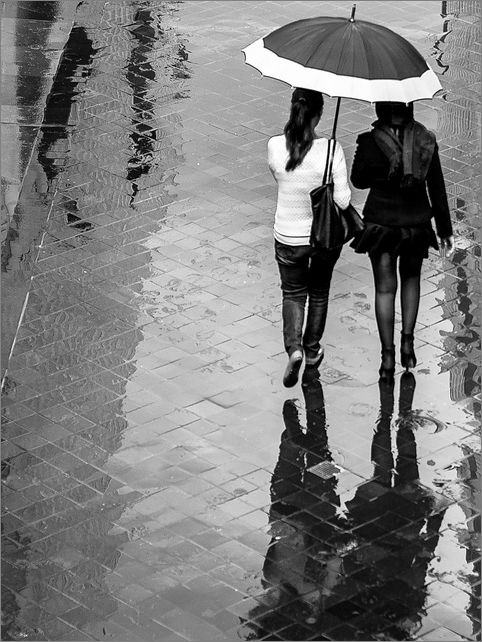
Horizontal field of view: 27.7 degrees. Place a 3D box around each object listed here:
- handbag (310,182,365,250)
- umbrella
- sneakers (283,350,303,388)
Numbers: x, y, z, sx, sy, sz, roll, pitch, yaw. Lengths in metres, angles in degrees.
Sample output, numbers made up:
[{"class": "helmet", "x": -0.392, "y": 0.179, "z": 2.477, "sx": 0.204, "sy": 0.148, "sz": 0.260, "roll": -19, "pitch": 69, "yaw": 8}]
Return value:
[{"class": "handbag", "x": 0.562, "y": -0.597, "z": 5.809, "sx": 0.249, "sy": 0.345, "sz": 0.441, "roll": 2, "pitch": -13, "yaw": 27}, {"class": "umbrella", "x": 0.570, "y": -1.489, "z": 5.611, "sx": 1.071, "sy": 0.872, "sz": 0.693, "roll": 8, "pitch": -56, "yaw": -7}, {"class": "sneakers", "x": 0.319, "y": 0.290, "z": 5.918, "sx": 0.100, "sy": 0.229, "sz": 0.111, "roll": 2, "pitch": 25, "yaw": -25}]
